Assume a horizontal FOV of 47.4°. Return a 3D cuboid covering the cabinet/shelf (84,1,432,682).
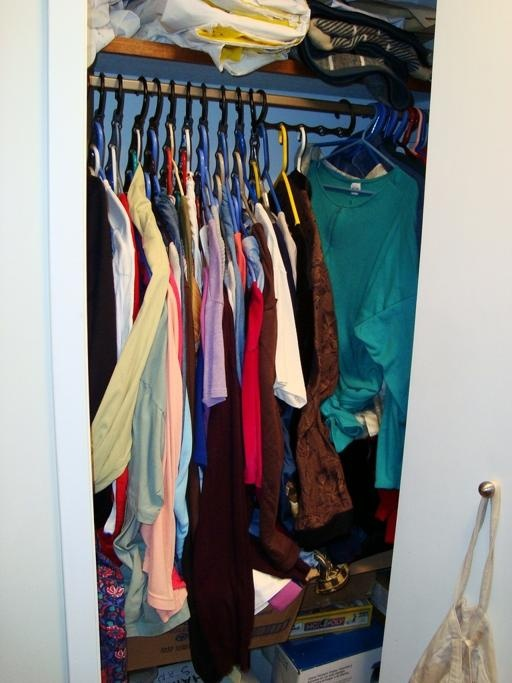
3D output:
[{"bbox_3d":[0.008,-0.001,1.114,0.637,1.262,0.357,-4,13,-20],"label":"cabinet/shelf"}]
